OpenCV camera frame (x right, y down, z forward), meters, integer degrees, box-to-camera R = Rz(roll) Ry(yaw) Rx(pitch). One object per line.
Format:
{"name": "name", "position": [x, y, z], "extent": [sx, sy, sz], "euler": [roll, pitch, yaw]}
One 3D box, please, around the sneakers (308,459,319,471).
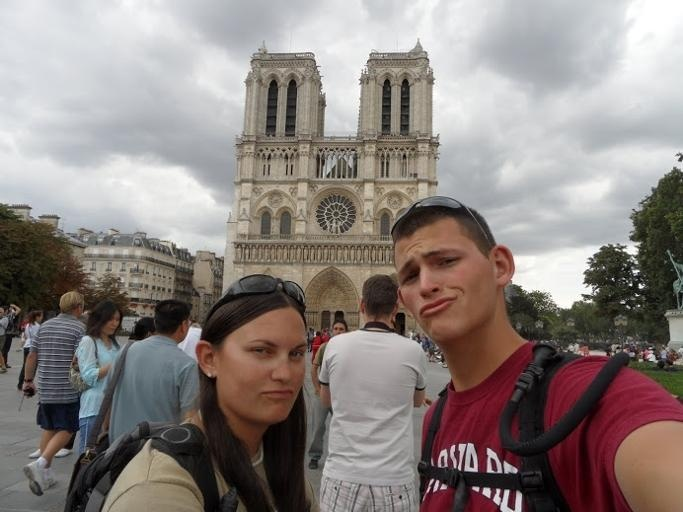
{"name": "sneakers", "position": [-0.297, 2.298, 5.464], "extent": [0.059, 0.117, 0.187], "euler": [1, -10, 3]}
